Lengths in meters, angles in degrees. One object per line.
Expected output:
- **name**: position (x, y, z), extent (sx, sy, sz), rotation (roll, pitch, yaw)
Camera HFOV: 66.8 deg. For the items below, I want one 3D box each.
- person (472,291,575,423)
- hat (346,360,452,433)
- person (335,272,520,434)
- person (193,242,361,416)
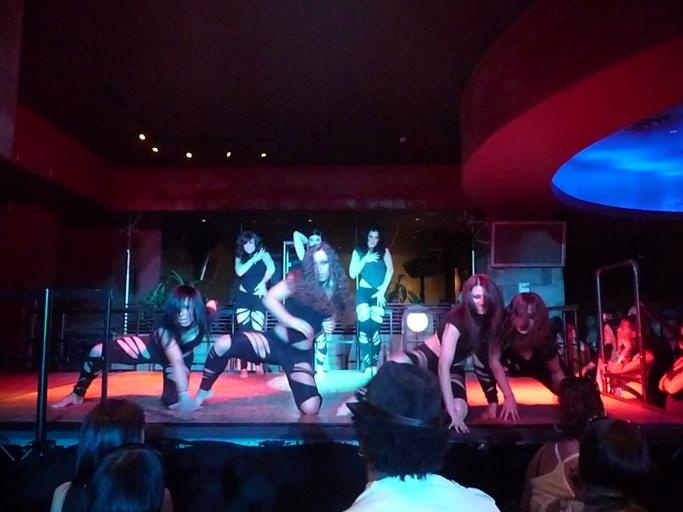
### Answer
- **person**: position (1.579, 0.836, 4.447), extent (0.783, 1.093, 1.051), rotation (-9, -8, 15)
- **hat**: position (0.305, 0.701, 2.572), extent (0.543, 0.215, 0.427), rotation (13, 7, 27)
- **person**: position (0.766, 0.764, 4.540), extent (0.806, 1.277, 1.652), rotation (9, 4, -42)
- **person**: position (-0.466, 0.647, 4.461), extent (1.172, 1.639, 0.758), rotation (17, -5, -25)
